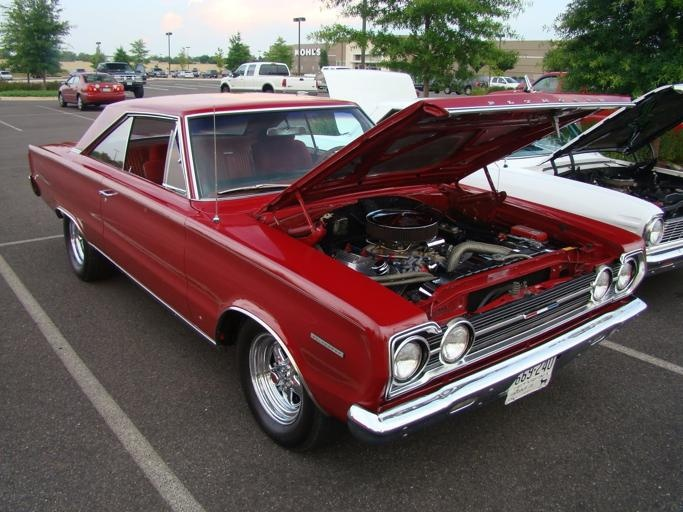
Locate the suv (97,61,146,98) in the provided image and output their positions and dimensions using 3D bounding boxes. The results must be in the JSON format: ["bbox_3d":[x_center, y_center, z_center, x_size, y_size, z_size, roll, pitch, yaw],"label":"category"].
[{"bbox_3d":[-13.742,-11.212,29.797,1.344,0.962,2.126,12,21,-38],"label":"suv"}]

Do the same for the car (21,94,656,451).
[{"bbox_3d":[-0.080,-0.188,3.848,2.377,2.156,3.716,-17,27,-38],"label":"car"}]
